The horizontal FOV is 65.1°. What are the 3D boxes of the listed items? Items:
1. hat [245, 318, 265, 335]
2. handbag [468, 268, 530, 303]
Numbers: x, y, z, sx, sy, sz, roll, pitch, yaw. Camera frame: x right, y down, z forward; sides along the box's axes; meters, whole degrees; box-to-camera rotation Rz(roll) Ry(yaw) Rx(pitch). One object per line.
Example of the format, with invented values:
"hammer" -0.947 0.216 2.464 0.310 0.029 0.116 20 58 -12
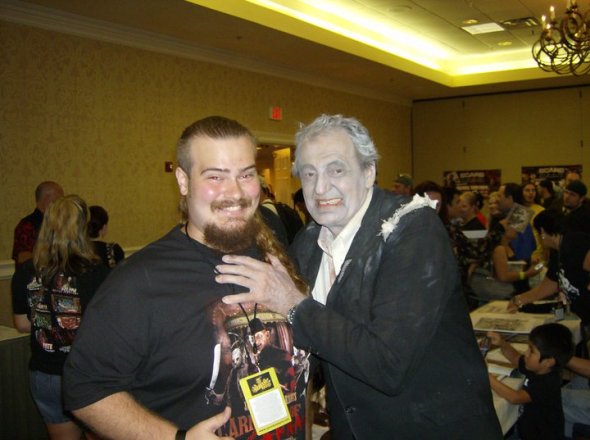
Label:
"hat" -0.182 0.483 2.112 0.073 0.069 0.074 -14 0 12
"handbag" 2.041 0.641 4.751 0.473 0.199 0.356 0 -41 15
